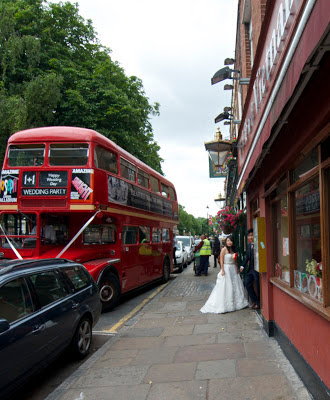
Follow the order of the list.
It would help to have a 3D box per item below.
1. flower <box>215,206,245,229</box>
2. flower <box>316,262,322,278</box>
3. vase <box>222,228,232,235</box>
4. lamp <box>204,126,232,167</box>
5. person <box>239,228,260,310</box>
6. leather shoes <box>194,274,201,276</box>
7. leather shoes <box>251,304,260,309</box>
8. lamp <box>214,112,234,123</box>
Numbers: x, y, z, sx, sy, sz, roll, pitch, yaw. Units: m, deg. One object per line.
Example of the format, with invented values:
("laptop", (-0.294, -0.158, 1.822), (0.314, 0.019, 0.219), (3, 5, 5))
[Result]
("flower", (2.372, 0.680, 10.212), (0.963, 1.152, 0.746), (-8, -23, 35))
("flower", (1.498, 0.691, 2.747), (0.023, 0.145, 0.194), (-5, -10, 15))
("vase", (2.367, 1.184, 10.645), (0.267, 0.264, 0.296), (-1, 0, 10))
("lamp", (2.135, -2.069, 11.239), (1.005, 1.354, 0.865), (-9, -10, 32))
("person", (2.112, 1.763, 7.064), (0.409, 2.026, 1.174), (-5, -9, 14))
("leather shoes", (1.679, 3.969, 14.693), (0.267, 0.140, 0.127), (5, -3, 9))
("leather shoes", (2.237, 2.686, 6.988), (0.231, 0.118, 0.088), (3, -5, 12))
("lamp", (2.291, -3.396, 11.269), (0.612, 0.406, 0.382), (-6, -10, 15))
